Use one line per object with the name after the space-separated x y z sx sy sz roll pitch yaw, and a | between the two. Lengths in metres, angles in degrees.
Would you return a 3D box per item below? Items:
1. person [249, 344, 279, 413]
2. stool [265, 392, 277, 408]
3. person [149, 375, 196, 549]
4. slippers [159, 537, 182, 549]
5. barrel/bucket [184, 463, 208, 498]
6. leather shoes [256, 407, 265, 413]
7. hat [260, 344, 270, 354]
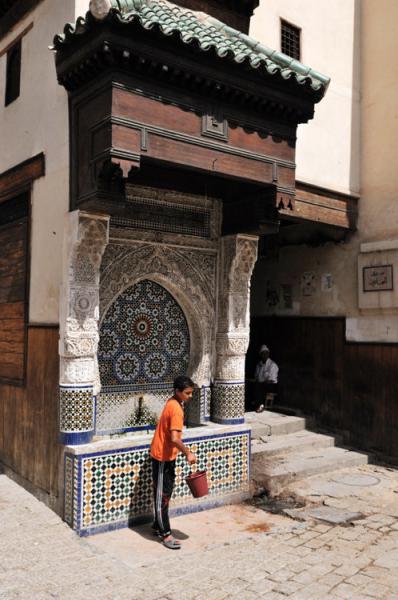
1.014 1.186 9.740 0.390 0.964 0.798 2 2 5 | person
1.090 1.536 9.809 0.208 0.294 0.226 5 -5 -12 | stool
-0.223 1.277 5.033 0.311 1.311 0.442 2 1 -5 | person
-0.218 1.903 5.030 0.154 0.073 0.105 2 2 -3 | slippers
-0.009 1.468 5.230 0.202 0.211 0.206 -26 -12 -6 | barrel/bucket
0.891 1.599 9.399 0.114 0.091 0.172 2 2 3 | leather shoes
1.009 0.747 9.768 0.095 0.108 0.136 1 -12 -6 | hat
